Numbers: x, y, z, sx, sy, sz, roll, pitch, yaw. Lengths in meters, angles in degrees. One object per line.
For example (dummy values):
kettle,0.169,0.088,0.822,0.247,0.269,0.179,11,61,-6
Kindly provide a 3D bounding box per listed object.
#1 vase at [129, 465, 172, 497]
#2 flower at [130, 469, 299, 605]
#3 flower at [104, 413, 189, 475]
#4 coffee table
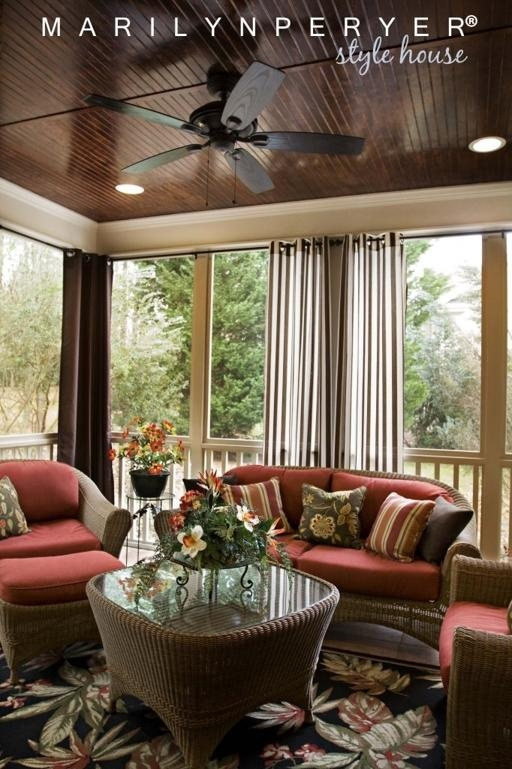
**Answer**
vase,-0.634,0.582,3.607,0.187,0.125,0.185,1,-5,0
flower,-0.166,0.583,2.424,0.493,0.415,0.497,7,-12,-32
flower,-0.669,0.404,3.771,0.499,0.410,0.486,2,-5,3
coffee table,-0.121,0.960,2.178,0.815,0.485,0.676,3,-3,-34
